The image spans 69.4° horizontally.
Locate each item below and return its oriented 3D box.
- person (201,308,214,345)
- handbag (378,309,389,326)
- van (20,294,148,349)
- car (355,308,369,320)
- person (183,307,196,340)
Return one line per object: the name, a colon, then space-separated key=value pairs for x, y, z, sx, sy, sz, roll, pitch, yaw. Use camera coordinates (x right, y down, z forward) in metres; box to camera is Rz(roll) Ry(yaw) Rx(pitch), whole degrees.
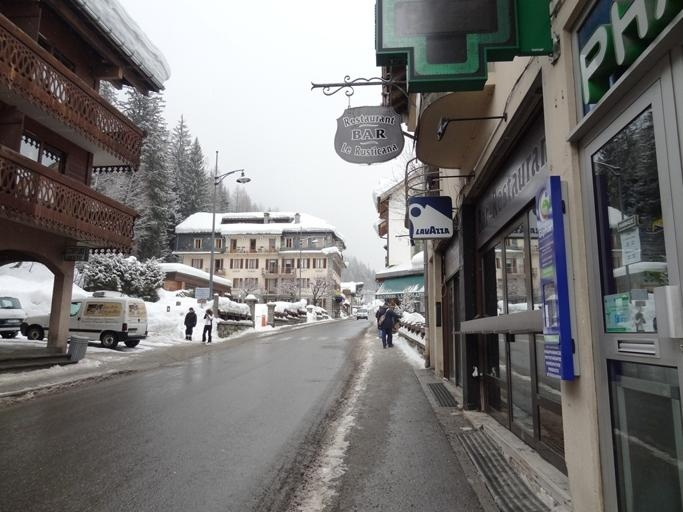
person: x=-6.910 y=3.587 z=25.251 sx=0.462 sy=1.742 sz=3.106 roll=1 pitch=-12 yaw=-16
handbag: x=1.890 y=2.651 z=21.429 sx=0.570 sy=0.721 sz=0.383 roll=2 pitch=-7 yaw=8
van: x=-10.600 y=2.555 z=20.473 sx=3.990 sy=2.570 sz=2.225 roll=4 pitch=-6 yaw=-4
car: x=3.171 y=8.722 z=74.007 sx=1.373 sy=1.591 sz=2.750 roll=-2 pitch=-15 yaw=3
person: x=-7.607 y=3.379 z=24.691 sx=0.469 sy=1.622 sz=1.494 roll=2 pitch=-11 yaw=-19
